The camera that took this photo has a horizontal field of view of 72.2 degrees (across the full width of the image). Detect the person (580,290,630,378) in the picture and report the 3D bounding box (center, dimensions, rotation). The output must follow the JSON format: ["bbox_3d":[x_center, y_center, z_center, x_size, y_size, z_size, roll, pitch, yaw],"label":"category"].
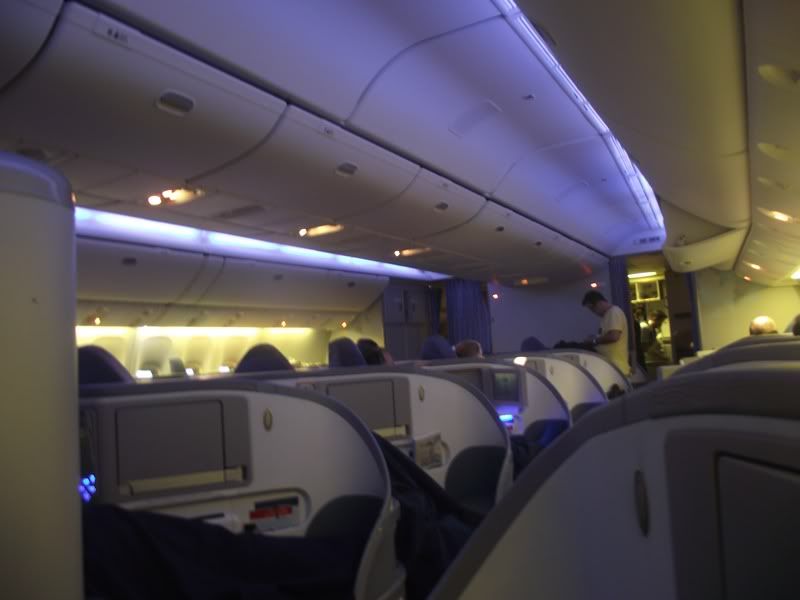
[{"bbox_3d":[2.821,0.629,7.418,0.480,1.613,0.555,-1,20,36],"label":"person"}]

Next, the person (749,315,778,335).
[{"bbox_3d":[3.990,0.279,6.050,0.179,0.202,0.721,0,-5,29],"label":"person"}]

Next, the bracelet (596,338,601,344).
[{"bbox_3d":[2.545,0.540,7.062,0.045,0.047,0.047,-3,4,-15],"label":"bracelet"}]
